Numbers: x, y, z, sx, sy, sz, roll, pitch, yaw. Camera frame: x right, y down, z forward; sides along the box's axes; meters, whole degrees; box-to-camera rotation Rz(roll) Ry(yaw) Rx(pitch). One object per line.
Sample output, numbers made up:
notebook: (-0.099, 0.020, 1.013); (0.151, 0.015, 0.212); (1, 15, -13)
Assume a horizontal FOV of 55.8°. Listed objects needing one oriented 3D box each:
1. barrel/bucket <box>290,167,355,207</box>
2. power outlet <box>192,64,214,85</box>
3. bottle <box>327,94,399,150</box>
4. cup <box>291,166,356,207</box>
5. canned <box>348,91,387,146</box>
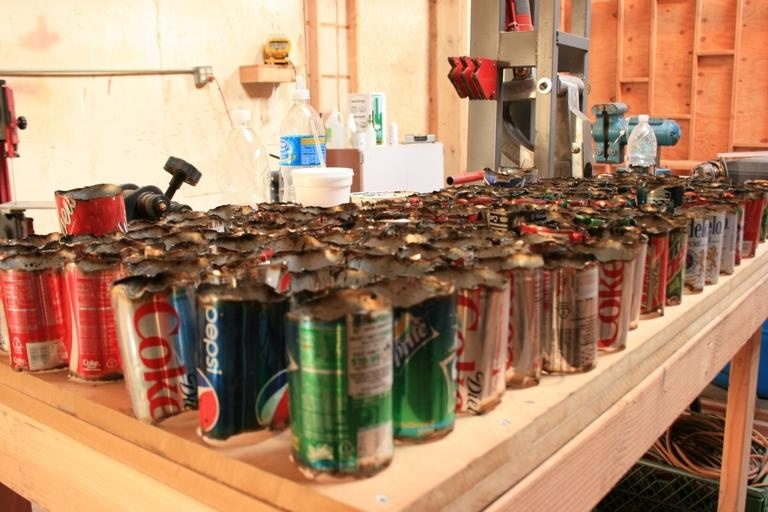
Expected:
barrel/bucket: (-0.179, -0.195, 2.105); (0.149, 0.088, 0.146); (-2, 8, 0)
power outlet: (-1.021, -1.011, 4.059); (0.067, 0.093, 0.118); (10, 21, 28)
bottle: (-0.109, -0.609, 3.313); (0.430, 0.249, 0.274); (-4, 9, -28)
cup: (-0.177, -0.195, 2.104); (0.149, 0.088, 0.146); (-1, 9, 0)
canned: (-0.082, -0.655, 3.468); (0.196, 0.222, 0.181); (1, 8, 0)
